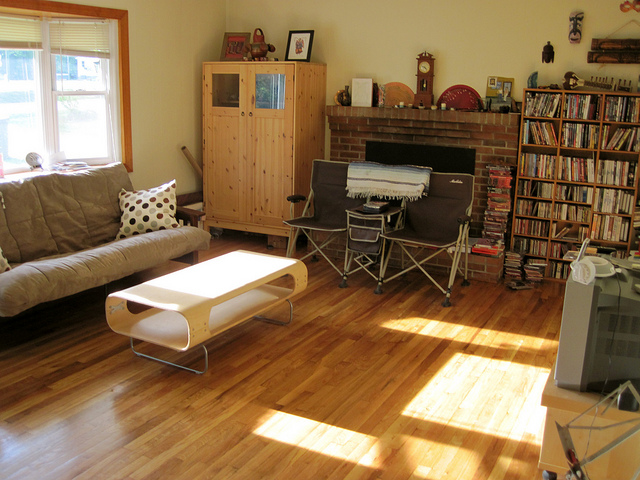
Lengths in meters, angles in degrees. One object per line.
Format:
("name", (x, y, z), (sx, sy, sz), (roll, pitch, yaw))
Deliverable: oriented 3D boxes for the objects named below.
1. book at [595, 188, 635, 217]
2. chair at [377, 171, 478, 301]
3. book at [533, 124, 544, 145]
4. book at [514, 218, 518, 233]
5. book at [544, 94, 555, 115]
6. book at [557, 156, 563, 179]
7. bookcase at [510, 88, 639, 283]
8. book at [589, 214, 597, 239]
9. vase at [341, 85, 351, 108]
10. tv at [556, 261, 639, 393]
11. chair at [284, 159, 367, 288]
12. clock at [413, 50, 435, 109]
("book", (2.821, -0.370, 4.630), (0.321, 0.228, 0.081), (10, 22, 26))
("chair", (0.989, -0.079, 4.499), (0.846, 1.065, 0.857), (-15, 21, -42))
("book", (2.173, -1.054, 4.811), (0.040, 0.165, 0.162), (-17, 6, 16))
("book", (2.025, -0.141, 4.999), (0.025, 0.103, 0.105), (4, 5, 16))
("book", (2.235, -1.323, 4.709), (0.035, 0.146, 0.145), (18, 14, 8))
("book", (2.361, -0.715, 4.768), (0.035, 0.149, 0.152), (7, 9, 26))
("bookcase", (2.467, -0.647, 4.746), (1.368, 1.864, 0.393), (11, 15, 29))
("book", (2.645, -0.129, 4.686), (0.046, 0.224, 0.135), (11, 22, 28))
("vase", (0.315, -1.682, 5.646), (0.092, 0.205, 0.134), (12, 22, 29))
("tv", (1.331, 0.389, 2.295), (0.336, 0.566, 0.329), (9, 21, 23))
("chair", (0.071, -0.208, 4.856), (0.739, 1.016, 0.730), (8, 24, 27))
("clock", (1.164, -1.762, 5.332), (0.220, 0.581, 0.150), (4, 20, 12))
